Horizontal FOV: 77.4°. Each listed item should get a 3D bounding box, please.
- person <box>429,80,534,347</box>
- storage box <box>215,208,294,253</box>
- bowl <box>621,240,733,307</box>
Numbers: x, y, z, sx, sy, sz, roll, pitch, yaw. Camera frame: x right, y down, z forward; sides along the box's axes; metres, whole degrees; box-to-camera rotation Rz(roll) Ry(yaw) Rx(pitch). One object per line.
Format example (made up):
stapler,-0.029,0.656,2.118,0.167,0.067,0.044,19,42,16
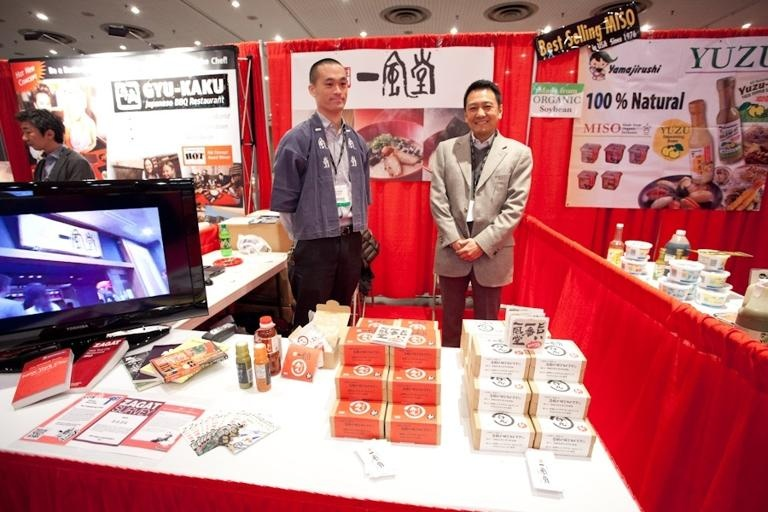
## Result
person,0.712,-0.275,3.604,0.739,2.023,0.567,2,14,14
storage box,-1.121,-0.208,4.076,0.472,0.268,0.458,0,16,0
bowl,1.998,0.112,3.225,0.508,0.326,0.712,-14,19,-43
